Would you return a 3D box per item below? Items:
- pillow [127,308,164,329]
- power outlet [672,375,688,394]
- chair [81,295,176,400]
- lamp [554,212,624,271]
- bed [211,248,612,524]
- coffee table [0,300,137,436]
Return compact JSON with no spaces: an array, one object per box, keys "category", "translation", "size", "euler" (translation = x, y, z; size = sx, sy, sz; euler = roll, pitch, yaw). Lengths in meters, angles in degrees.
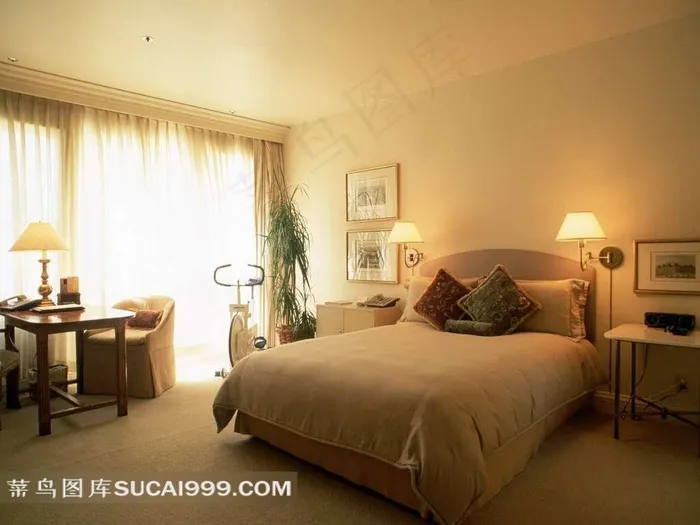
[{"category":"pillow","translation":[-2.292,0.642,5.793],"size":[0.316,0.223,0.100],"euler":[-2,-21,12]},{"category":"power outlet","translation":[2.795,1.036,4.386],"size":[0.030,0.146,0.127],"euler":[-7,-8,40]},{"category":"chair","translation":[-2.337,0.905,5.831],"size":[0.809,1.156,0.977],"euler":[-1,-4,11]},{"category":"lamp","translation":[2.335,-0.174,5.004],"size":[0.610,0.633,0.454],"euler":[3,-4,-35]},{"category":"bed","translation":[0.901,0.988,4.326],"size":[1.941,1.349,2.449],"euler":[-1,1,43]},{"category":"coffee table","translation":[-2.701,0.967,4.919],"size":[1.165,1.059,0.989],"euler":[2,11,10]}]
